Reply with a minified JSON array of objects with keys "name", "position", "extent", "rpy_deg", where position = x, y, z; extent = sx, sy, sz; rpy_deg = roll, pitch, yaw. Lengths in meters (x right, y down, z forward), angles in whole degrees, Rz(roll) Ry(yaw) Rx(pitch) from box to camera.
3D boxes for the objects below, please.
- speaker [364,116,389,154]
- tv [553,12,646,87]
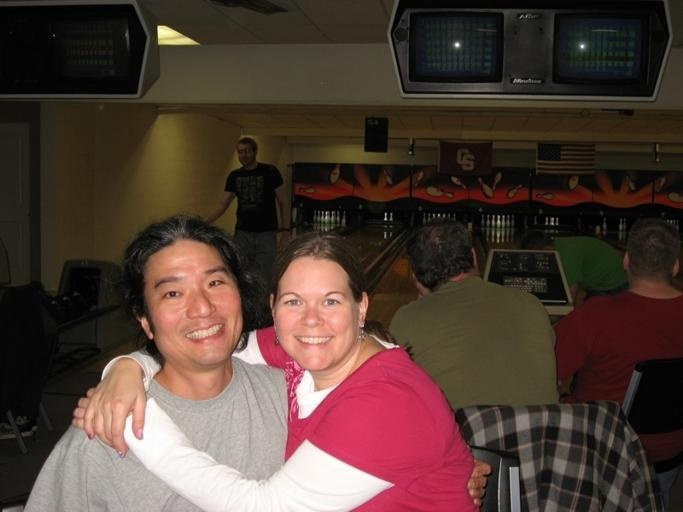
[{"name":"speaker","position":[0.283,-1.011,4.601],"extent":[0.181,0.306,0.256],"rpy_deg":[1,4,0]},{"name":"tv","position":[1.128,-0.863,2.521],"extent":[0.445,0.343,0.265],"rpy_deg":[1,10,9]}]
